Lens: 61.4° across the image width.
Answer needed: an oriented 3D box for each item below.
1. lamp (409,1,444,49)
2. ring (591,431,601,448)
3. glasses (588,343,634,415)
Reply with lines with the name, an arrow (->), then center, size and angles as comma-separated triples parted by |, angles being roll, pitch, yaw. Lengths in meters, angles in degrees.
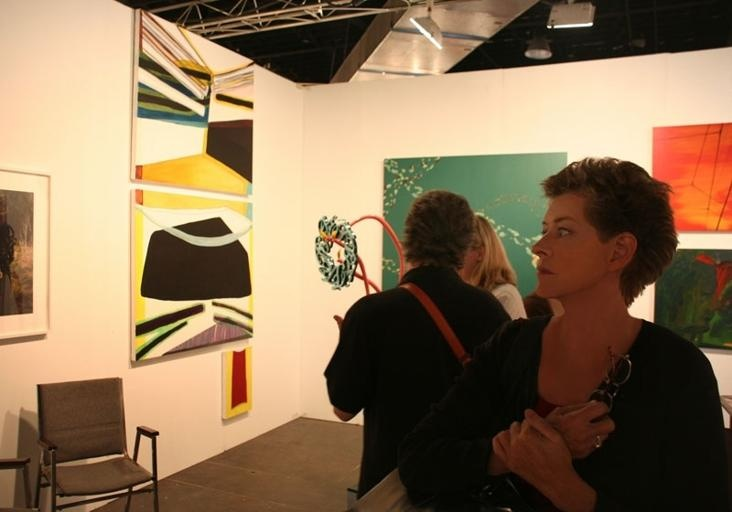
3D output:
lamp -> 0.601, -2.197, 5.977 | 0.322, 0.462, 0.404 | 19, 19, 7
ring -> 0.744, 0.594, 1.979 | 0.024, 0.041, 0.040 | 1, -2, -34
glasses -> 0.802, 0.415, 2.014 | 0.131, 0.185, 0.082 | -2, 5, -38
